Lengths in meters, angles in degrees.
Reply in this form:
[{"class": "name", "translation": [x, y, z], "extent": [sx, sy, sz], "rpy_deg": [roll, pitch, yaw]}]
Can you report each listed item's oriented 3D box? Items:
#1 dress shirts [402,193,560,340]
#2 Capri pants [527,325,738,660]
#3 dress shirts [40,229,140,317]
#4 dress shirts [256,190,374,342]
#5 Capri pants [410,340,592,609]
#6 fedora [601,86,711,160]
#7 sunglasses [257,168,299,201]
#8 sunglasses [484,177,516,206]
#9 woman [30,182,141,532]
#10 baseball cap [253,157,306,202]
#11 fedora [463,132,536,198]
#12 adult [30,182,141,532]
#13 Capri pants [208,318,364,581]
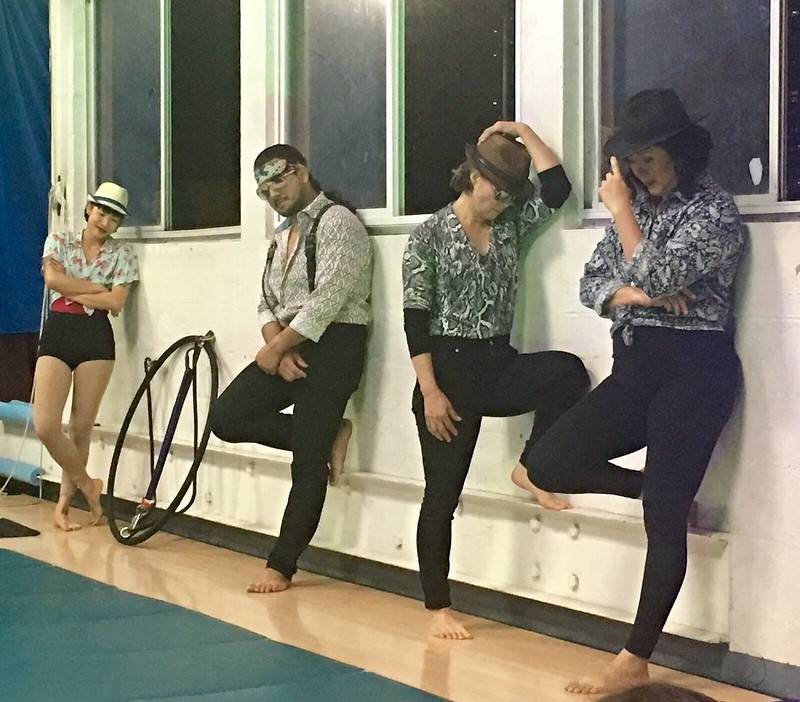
[{"class": "dress shirts", "translation": [0.291, -0.324, 3.443], "extent": [0.586, 0.585, 0.262], "rpy_deg": [0, 0, -15]}, {"class": "Capri pants", "translation": [0.724, 0.403, 2.950], "extent": [0.567, 0.988, 0.379], "rpy_deg": [9, 10, 32]}, {"class": "dress shirts", "translation": [-1.683, -0.456, 4.941], "extent": [0.499, 0.494, 0.252], "rpy_deg": [8, 39, -32]}, {"class": "dress shirts", "translation": [-0.387, -0.328, 4.083], "extent": [0.517, 0.777, 0.606], "rpy_deg": [-2, 2, -30]}, {"class": "Capri pants", "translation": [0.350, 0.314, 3.395], "extent": [0.638, 1.727, 0.334], "rpy_deg": [-3, 22, 0]}, {"class": "fedora", "translation": [0.798, -0.667, 2.911], "extent": [0.240, 0.100, 0.223], "rpy_deg": [-20, 25, 33]}, {"class": "sunglasses", "translation": [-0.523, -0.722, 3.896], "extent": [0.137, 0.043, 0.131], "rpy_deg": [-44, 14, -34]}, {"class": "sunglasses", "translation": [0.356, -0.564, 3.263], "extent": [0.042, 0.085, 0.111], "rpy_deg": [-20, 22, -10]}, {"class": "woman", "translation": [-1.684, 0.012, 4.847], "extent": [0.597, 1.785, 0.417], "rpy_deg": [-4, 11, -39]}, {"class": "baseball cap", "translation": [-0.514, -0.744, 3.902], "extent": [0.145, 0.059, 0.157], "rpy_deg": [-16, 16, 44]}, {"class": "fedora", "translation": [0.369, -0.670, 3.279], "extent": [0.094, 0.230, 0.210], "rpy_deg": [-44, 11, 25]}, {"class": "adult", "translation": [-1.680, 0.012, 4.848], "extent": [0.584, 1.785, 0.443], "rpy_deg": [-3, 11, -36]}, {"class": "Capri pants", "translation": [-0.478, 0.392, 3.900], "extent": [0.639, 1.058, 0.391], "rpy_deg": [3, 9, -4]}]
